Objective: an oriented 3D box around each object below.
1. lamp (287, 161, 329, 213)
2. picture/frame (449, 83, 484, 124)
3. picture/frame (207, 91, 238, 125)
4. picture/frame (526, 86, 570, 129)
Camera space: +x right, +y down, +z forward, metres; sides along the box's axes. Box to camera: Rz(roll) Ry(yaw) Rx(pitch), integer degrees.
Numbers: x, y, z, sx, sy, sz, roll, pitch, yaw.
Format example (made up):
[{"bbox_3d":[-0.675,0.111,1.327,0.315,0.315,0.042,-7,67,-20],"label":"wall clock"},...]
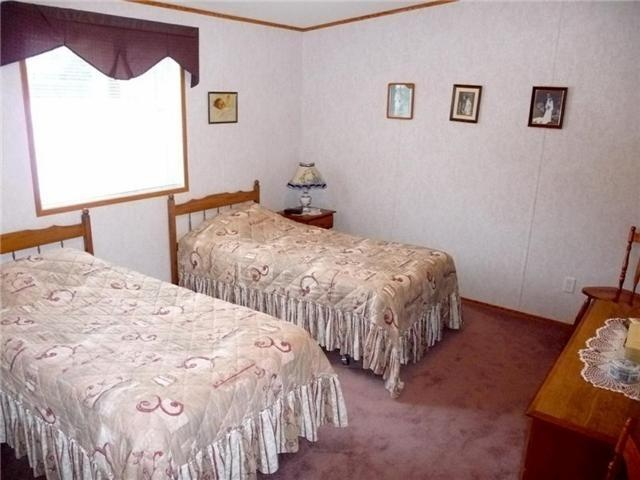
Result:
[{"bbox_3d":[-0.179,-0.616,5.545,0.433,0.552,0.460,5,8,29],"label":"lamp"},{"bbox_3d":[1.484,-1.385,4.686,0.345,0.445,0.031,16,27,35],"label":"picture/frame"},{"bbox_3d":[-1.029,-1.368,4.798,0.023,0.294,0.358,17,24,32],"label":"picture/frame"},{"bbox_3d":[2.120,-1.234,4.300,0.334,0.455,0.032,16,26,35],"label":"picture/frame"}]
